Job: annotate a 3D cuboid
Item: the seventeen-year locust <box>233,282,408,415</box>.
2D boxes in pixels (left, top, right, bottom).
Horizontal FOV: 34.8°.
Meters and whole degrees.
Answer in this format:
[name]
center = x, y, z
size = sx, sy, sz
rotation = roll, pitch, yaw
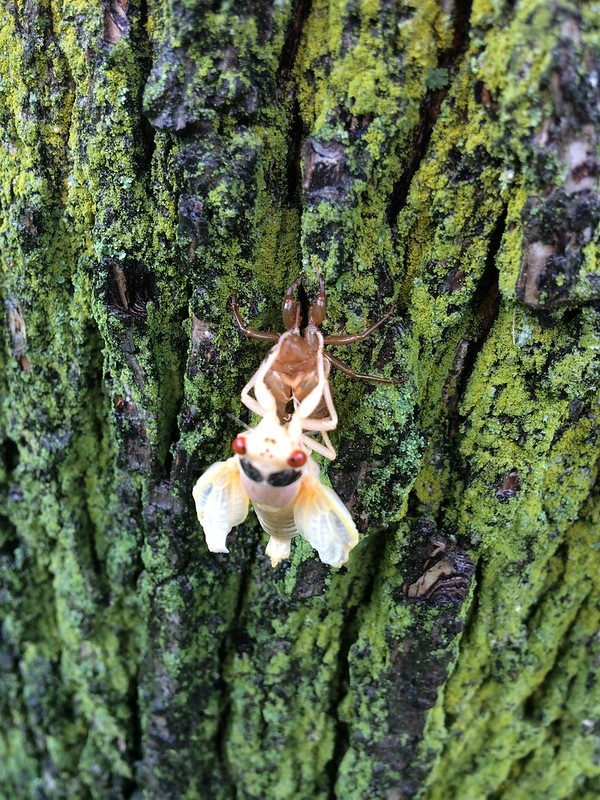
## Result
[seventeen-year locust]
center = 0.013, -0.221, 4.154
size = 0.624, 0.655, 0.188
rotation = 1, -5, 1
